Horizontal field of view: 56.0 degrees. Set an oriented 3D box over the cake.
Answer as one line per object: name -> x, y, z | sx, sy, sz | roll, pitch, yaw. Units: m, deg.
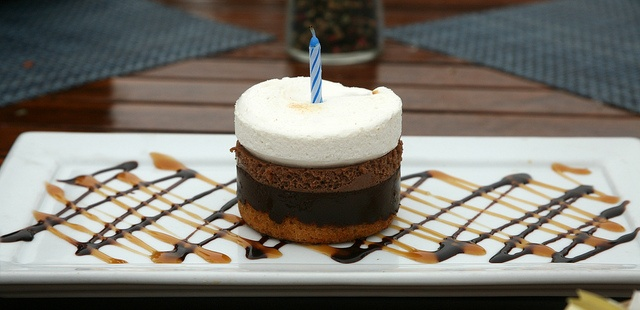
cake -> -0.014, 0.020, 2.635 | 0.735, 0.500, 0.645 | 2, 45, 4
